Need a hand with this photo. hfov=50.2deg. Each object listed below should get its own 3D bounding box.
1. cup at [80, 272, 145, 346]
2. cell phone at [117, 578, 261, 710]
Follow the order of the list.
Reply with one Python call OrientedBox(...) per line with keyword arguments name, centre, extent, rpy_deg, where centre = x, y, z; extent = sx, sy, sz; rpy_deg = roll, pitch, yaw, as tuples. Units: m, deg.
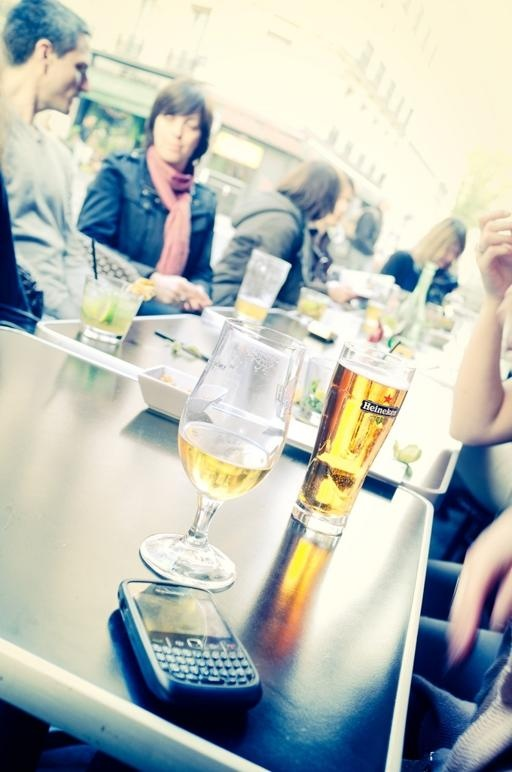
OrientedBox(name="cup", centre=(-0.253, -0.130, 0.935), extent=(0.102, 0.097, 0.101), rpy_deg=(20, -7, 3))
OrientedBox(name="cell phone", centre=(-0.034, 0.126, 0.275), extent=(0.059, 0.036, 0.086), rpy_deg=(14, 28, -30))
